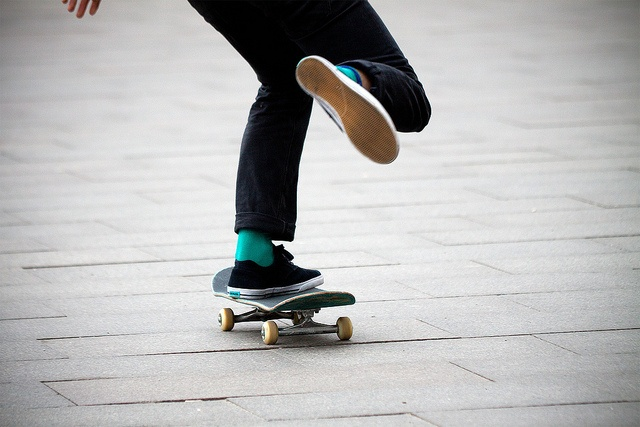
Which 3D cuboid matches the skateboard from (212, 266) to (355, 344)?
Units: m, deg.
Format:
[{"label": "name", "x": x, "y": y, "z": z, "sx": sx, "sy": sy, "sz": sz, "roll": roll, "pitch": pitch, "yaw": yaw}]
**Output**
[{"label": "skateboard", "x": -0.120, "y": 0.234, "z": 2.564, "sx": 0.299, "sy": 0.128, "sz": 0.518, "roll": -2, "pitch": 4, "yaw": -33}]
